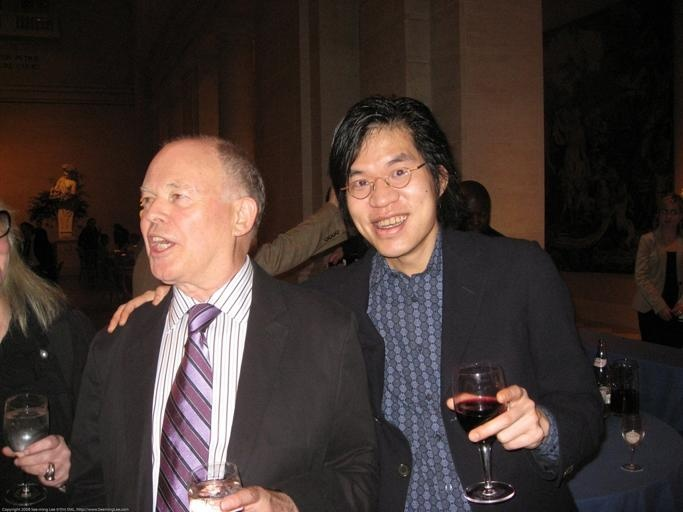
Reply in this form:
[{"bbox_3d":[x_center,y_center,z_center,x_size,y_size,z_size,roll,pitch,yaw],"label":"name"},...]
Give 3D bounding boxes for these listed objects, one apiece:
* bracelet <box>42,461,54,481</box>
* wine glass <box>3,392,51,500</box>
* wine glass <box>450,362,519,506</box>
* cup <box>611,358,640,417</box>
[{"bbox_3d":[-1.139,0.843,2.295,0.042,0.094,0.051,2,-12,-9],"label":"bracelet"},{"bbox_3d":[-1.323,0.817,2.461,0.190,0.457,0.389,-5,4,-28],"label":"wine glass"},{"bbox_3d":[0.504,0.648,2.104,0.284,0.522,0.178,-7,6,-44],"label":"wine glass"},{"bbox_3d":[1.660,0.781,3.461,0.134,0.334,0.089,-1,5,23],"label":"cup"}]
